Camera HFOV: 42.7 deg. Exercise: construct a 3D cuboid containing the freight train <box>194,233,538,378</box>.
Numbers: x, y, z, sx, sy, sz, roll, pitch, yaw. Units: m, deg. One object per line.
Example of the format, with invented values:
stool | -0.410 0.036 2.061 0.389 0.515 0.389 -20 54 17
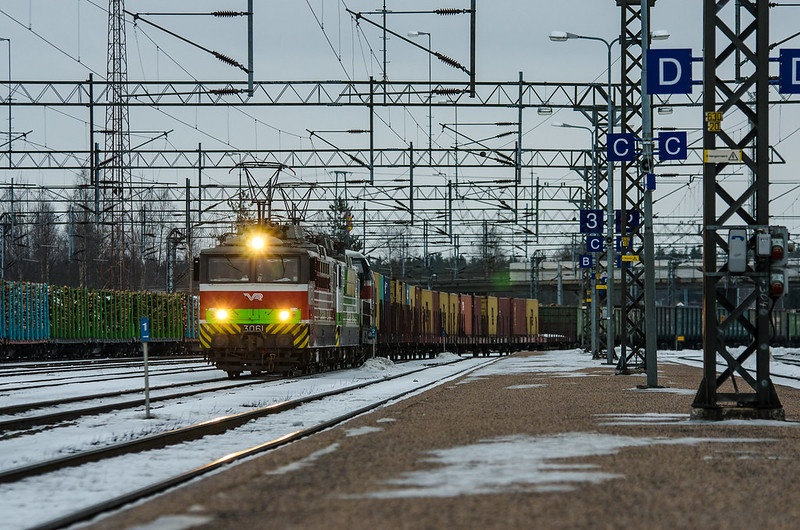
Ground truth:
freight train | -0.243 2.588 47.781 4.130 6.087 32.865 -1 -7 19
